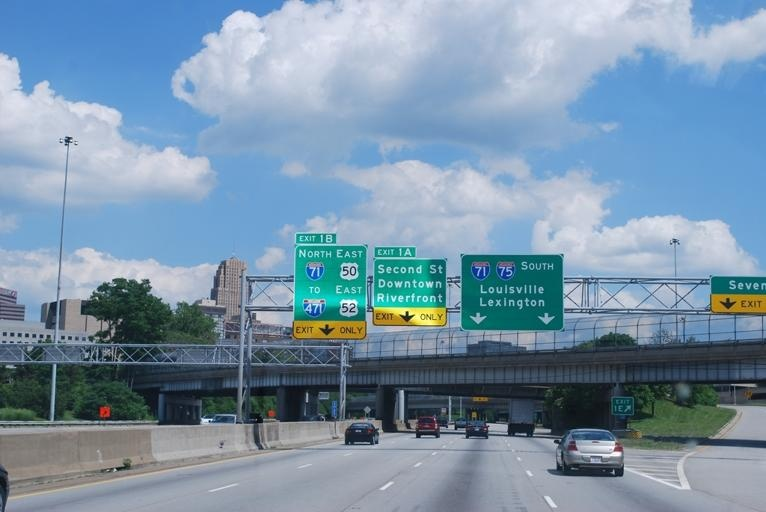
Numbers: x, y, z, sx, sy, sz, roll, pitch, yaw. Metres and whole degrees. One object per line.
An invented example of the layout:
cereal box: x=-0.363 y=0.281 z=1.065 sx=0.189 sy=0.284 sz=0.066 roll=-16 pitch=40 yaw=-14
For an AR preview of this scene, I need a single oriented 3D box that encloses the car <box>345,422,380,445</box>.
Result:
car: x=-1.863 y=15.524 z=99.118 sx=2.170 sy=2.067 sz=3.217 roll=-6 pitch=-11 yaw=24
